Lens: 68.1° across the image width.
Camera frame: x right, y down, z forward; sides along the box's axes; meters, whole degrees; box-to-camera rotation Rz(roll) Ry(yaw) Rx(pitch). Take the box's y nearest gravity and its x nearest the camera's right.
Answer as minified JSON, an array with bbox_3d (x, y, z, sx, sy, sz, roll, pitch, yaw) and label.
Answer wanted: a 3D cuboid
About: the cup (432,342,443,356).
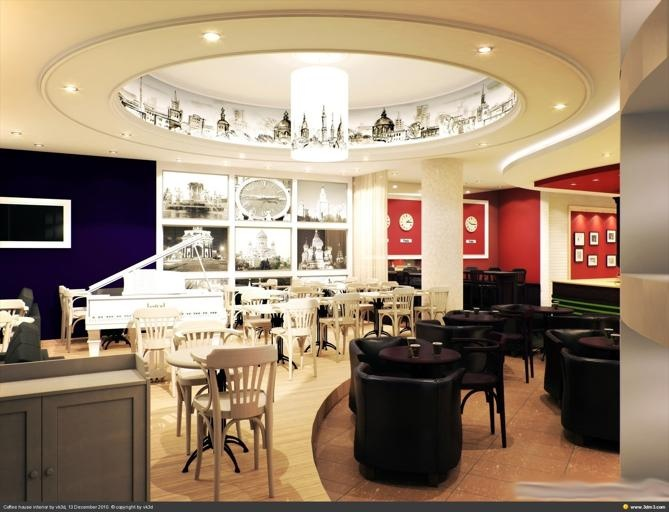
[{"bbox_3d":[1.036,0.926,4.958,0.108,0.115,0.114,0,-2,0],"label":"cup"}]

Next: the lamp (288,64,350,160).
[{"bbox_3d":[-0.496,-2.206,7.802,1.027,1.213,1.074,-5,15,32],"label":"lamp"}]

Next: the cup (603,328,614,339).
[{"bbox_3d":[3.112,0.866,5.597,0.120,0.096,0.121,-1,7,0],"label":"cup"}]

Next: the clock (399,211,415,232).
[{"bbox_3d":[2.152,-0.986,14.657,0.513,0.540,0.062,-1,6,-31],"label":"clock"}]

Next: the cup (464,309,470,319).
[{"bbox_3d":[2.005,0.873,7.403,0.087,0.107,0.086,-1,-3,0],"label":"cup"}]

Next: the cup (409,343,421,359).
[{"bbox_3d":[0.797,0.926,4.856,0.127,0.122,0.085,4,-5,-44],"label":"cup"}]

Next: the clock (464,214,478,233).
[{"bbox_3d":[4.433,-1.001,15.979,0.508,0.528,0.110,-1,6,-32],"label":"clock"}]

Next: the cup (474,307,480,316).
[{"bbox_3d":[2.185,0.852,7.501,0.095,0.098,0.110,-1,4,-12],"label":"cup"}]
